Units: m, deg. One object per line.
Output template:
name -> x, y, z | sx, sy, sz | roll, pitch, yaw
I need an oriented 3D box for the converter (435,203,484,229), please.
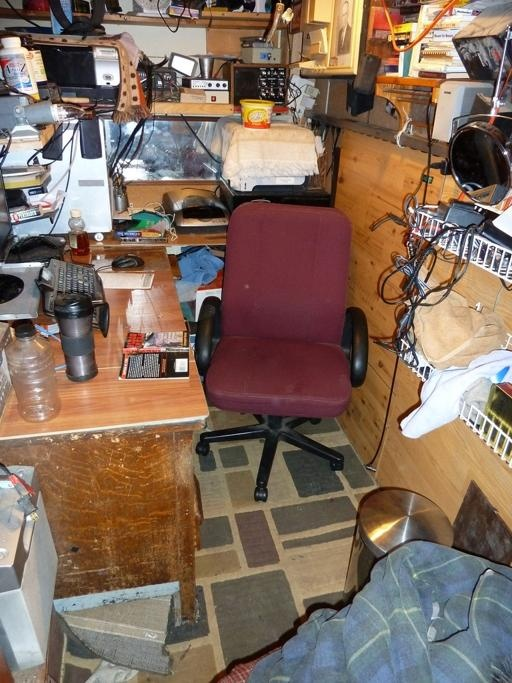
converter -> 0.429, -0.264, 1.020 | 0.083, 0.060, 0.030 | 21, 6, 24

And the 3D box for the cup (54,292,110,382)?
cup -> -0.457, -0.020, 1.229 | 0.095, 0.252, 0.175 | -13, 35, -21

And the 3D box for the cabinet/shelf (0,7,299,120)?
cabinet/shelf -> -0.380, -1.355, 2.366 | 0.998, 0.469, 1.187 | 2, 32, 1

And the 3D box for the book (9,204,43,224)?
book -> -0.882, -0.503, 1.849 | 0.088, 0.029, 0.087 | -16, 38, -14

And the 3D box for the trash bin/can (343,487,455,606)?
trash bin/can -> 0.392, 0.633, 1.424 | 0.252, 0.411, 0.232 | -6, 33, -11

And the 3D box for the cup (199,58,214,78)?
cup -> -0.253, -1.408, 2.456 | 0.070, 0.092, 0.097 | -3, 32, -6

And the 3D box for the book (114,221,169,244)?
book -> -0.528, -0.499, 2.257 | 0.175, 0.042, 0.179 | -1, 30, -13

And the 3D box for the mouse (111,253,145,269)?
mouse -> -0.522, -0.337, 1.995 | 0.099, 0.036, 0.069 | -3, 22, -26
